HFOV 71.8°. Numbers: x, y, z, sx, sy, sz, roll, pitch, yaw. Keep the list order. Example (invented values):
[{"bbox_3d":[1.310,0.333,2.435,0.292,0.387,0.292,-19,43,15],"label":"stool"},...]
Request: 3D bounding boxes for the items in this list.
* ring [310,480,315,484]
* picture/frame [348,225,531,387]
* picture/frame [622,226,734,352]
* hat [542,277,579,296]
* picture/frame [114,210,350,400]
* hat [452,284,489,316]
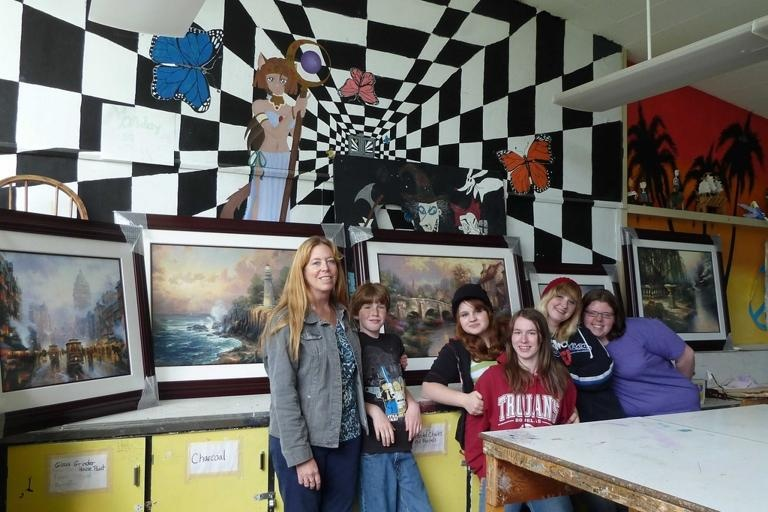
[{"bbox_3d":[-0.356,1.134,2.653,0.018,0.013,0.017,0,-5,0],"label":"ring"},{"bbox_3d":[0.320,0.354,3.544,1.026,0.811,0.075,3,-15,-23],"label":"picture/frame"},{"bbox_3d":[2.780,0.313,5.034,1.015,1.099,0.066,3,-11,-8],"label":"picture/frame"},{"bbox_3d":[1.192,0.192,3.603,0.185,0.052,0.191,-11,-18,32],"label":"hat"},{"bbox_3d":[-0.964,0.333,3.173,1.101,1.017,0.116,1,-16,-27],"label":"picture/frame"},{"bbox_3d":[0.524,0.255,3.239,0.150,0.114,0.208,-13,-26,26],"label":"hat"}]
